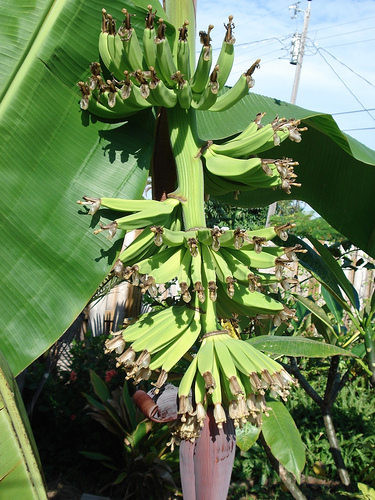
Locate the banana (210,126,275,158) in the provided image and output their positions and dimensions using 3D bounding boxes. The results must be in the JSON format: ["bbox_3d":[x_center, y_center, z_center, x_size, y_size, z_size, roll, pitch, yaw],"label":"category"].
[{"bbox_3d":[0.144,-0.287,1.203,0.231,0.073,0.054,-3,10,43],"label":"banana"}]

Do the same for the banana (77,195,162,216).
[{"bbox_3d":[-0.170,-0.115,1.134,0.261,0.062,0.066,0,8,-18],"label":"banana"}]

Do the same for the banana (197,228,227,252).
[{"bbox_3d":[0.050,-0.028,1.098,0.034,0.043,0.109,12,10,-24],"label":"banana"}]

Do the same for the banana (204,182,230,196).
[{"bbox_3d":[0.082,-0.196,1.378,0.046,0.037,0.018,6,-23,-23],"label":"banana"}]

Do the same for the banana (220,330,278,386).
[{"bbox_3d":[0.157,0.265,1.079,0.034,0.036,0.223,-35,28,2],"label":"banana"}]

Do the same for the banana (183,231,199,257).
[{"bbox_3d":[0.009,-0.020,1.071,0.027,0.030,0.075,-2,28,0],"label":"banana"}]

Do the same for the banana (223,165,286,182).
[{"bbox_3d":[0.180,-0.187,1.104,0.135,0.045,0.042,-7,30,7],"label":"banana"}]

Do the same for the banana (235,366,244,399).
[{"bbox_3d":[0.124,0.311,1.027,0.014,0.057,0.015,-7,15,0],"label":"banana"}]

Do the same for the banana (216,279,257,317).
[{"bbox_3d":[0.135,0.127,1.172,0.139,0.023,0.054,38,24,-1],"label":"banana"}]

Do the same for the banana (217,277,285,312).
[{"bbox_3d":[0.137,0.114,1.177,0.037,0.058,0.159,-39,28,-23],"label":"banana"}]

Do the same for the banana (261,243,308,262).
[{"bbox_3d":[0.246,-0.001,1.116,0.089,0.032,0.054,6,-17,27],"label":"banana"}]

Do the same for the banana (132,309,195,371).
[{"bbox_3d":[-0.032,0.209,1.155,0.060,0.049,0.293,-16,17,47],"label":"banana"}]

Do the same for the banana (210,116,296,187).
[{"bbox_3d":[0.121,-0.280,1.195,0.333,0.161,0.099,16,24,30],"label":"banana"}]

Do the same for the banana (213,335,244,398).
[{"bbox_3d":[0.089,0.268,1.030,0.040,0.031,0.190,-6,39,-15],"label":"banana"}]

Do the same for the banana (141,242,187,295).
[{"bbox_3d":[-0.039,0.049,1.118,0.190,0.072,0.051,-36,-1,29],"label":"banana"}]

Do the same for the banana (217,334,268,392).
[{"bbox_3d":[0.129,0.263,1.022,0.038,0.029,0.172,3,26,-23],"label":"banana"}]

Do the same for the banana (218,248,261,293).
[{"bbox_3d":[0.129,0.045,1.167,0.056,0.076,0.178,-27,50,-14],"label":"banana"}]

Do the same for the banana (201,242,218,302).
[{"bbox_3d":[0.044,0.052,1.120,0.033,0.035,0.169,-12,60,4],"label":"banana"}]

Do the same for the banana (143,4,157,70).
[{"bbox_3d":[-0.095,-0.533,1.091,0.038,0.123,0.076,8,21,-7],"label":"banana"}]

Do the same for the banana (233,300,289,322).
[{"bbox_3d":[0.206,0.165,1.143,0.114,0.027,0.037,17,2,-4],"label":"banana"}]

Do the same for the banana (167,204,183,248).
[{"bbox_3d":[-0.024,-0.072,1.235,0.032,0.133,0.036,1,-21,21],"label":"banana"}]

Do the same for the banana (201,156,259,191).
[{"bbox_3d":[0.114,-0.234,1.170,0.218,0.077,0.046,17,37,36],"label":"banana"}]

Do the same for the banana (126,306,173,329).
[{"bbox_3d":[-0.112,0.183,1.186,0.117,0.015,0.012,-26,42,-11],"label":"banana"}]

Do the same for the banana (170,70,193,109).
[{"bbox_3d":[-0.016,-0.430,1.140,0.047,0.105,0.041,-31,64,-11],"label":"banana"}]

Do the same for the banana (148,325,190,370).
[{"bbox_3d":[-0.039,0.242,1.140,0.179,0.033,0.025,-47,14,-22],"label":"banana"}]

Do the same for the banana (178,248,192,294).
[{"bbox_3d":[-0.007,0.054,1.107,0.028,0.048,0.121,7,52,0],"label":"banana"}]

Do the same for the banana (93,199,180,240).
[{"bbox_3d":[-0.133,-0.069,1.143,0.251,0.050,0.074,-6,60,26],"label":"banana"}]

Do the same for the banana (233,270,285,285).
[{"bbox_3d":[0.184,0.073,1.119,0.099,0.020,0.040,6,25,-49],"label":"banana"}]

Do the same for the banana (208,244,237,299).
[{"bbox_3d":[0.089,0.056,1.112,0.041,0.166,0.073,-23,6,16],"label":"banana"}]

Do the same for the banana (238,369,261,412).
[{"bbox_3d":[0.148,0.344,1.027,0.032,0.037,0.109,-26,42,5],"label":"banana"}]

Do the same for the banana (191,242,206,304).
[{"bbox_3d":[0.020,0.062,1.092,0.034,0.029,0.169,-12,43,0],"label":"banana"}]

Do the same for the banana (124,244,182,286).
[{"bbox_3d":[-0.092,0.037,1.133,0.035,0.059,0.159,32,46,24],"label":"banana"}]
